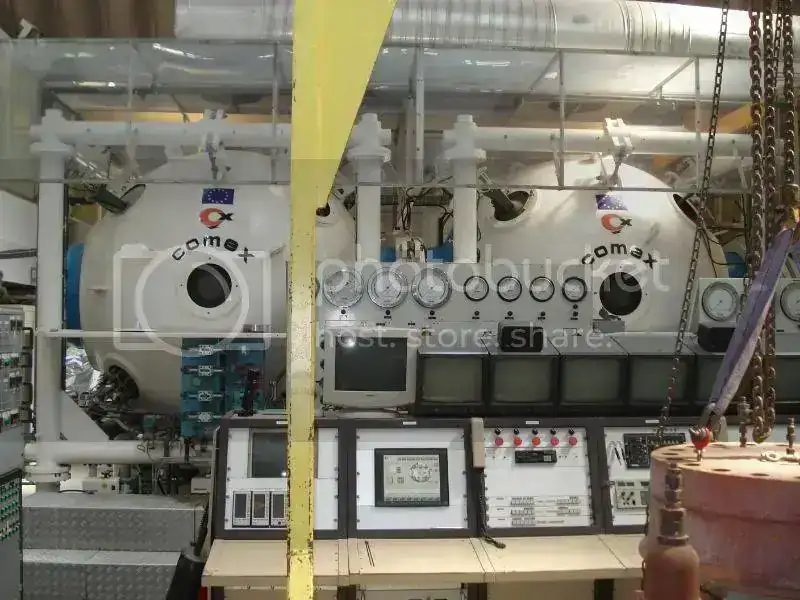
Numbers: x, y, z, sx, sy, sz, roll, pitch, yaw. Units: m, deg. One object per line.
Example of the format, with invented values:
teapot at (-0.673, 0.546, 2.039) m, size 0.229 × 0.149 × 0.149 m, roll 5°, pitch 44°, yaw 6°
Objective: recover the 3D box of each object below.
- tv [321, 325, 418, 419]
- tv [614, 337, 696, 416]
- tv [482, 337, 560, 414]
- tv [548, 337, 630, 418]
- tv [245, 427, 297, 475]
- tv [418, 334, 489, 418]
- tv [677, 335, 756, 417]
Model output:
tv at (-0.223, 0.497, 6.442) m, size 0.682 × 0.605 × 0.386 m, roll 1°, pitch 7°, yaw -4°
tv at (1.822, 0.544, 6.244) m, size 0.477 × 0.522 × 0.518 m, roll 1°, pitch -2°, yaw 1°
tv at (0.878, 0.586, 6.201) m, size 0.421 × 0.400 × 0.465 m, roll 0°, pitch -1°, yaw 0°
tv at (1.382, 0.523, 6.460) m, size 0.545 × 0.470 × 0.565 m, roll 2°, pitch 19°, yaw 10°
tv at (-0.902, 1.071, 6.031) m, size 0.294 × 0.343 × 0.103 m, roll -6°, pitch -13°, yaw 19°
tv at (0.356, 0.584, 6.182) m, size 0.467 × 0.493 × 0.508 m, roll 0°, pitch -2°, yaw -2°
tv at (2.175, 0.556, 6.317) m, size 0.651 × 0.627 × 0.477 m, roll 1°, pitch -3°, yaw -4°
